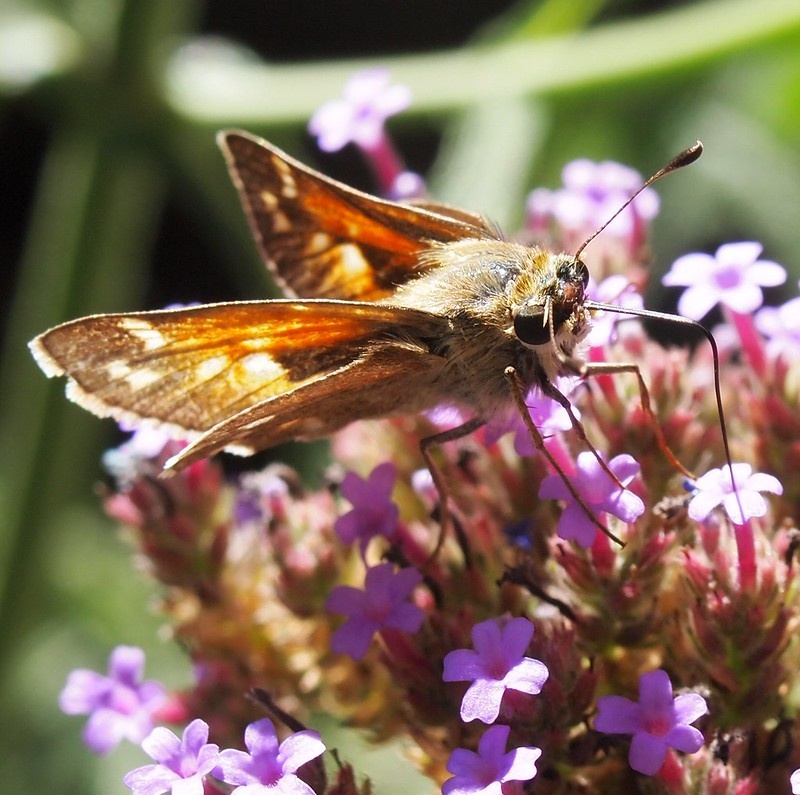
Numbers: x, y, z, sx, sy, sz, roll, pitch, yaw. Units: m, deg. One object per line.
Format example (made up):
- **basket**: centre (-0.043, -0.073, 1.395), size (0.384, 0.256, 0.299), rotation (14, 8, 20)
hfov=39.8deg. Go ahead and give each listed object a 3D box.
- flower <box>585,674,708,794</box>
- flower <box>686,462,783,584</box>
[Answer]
- **flower**: centre (0.559, 0.725, 2.464), size (0.225, 0.139, 0.188), rotation (25, 37, 31)
- **flower**: centre (0.766, 0.290, 2.674), size (0.199, 0.293, 0.211), rotation (3, 32, -4)
